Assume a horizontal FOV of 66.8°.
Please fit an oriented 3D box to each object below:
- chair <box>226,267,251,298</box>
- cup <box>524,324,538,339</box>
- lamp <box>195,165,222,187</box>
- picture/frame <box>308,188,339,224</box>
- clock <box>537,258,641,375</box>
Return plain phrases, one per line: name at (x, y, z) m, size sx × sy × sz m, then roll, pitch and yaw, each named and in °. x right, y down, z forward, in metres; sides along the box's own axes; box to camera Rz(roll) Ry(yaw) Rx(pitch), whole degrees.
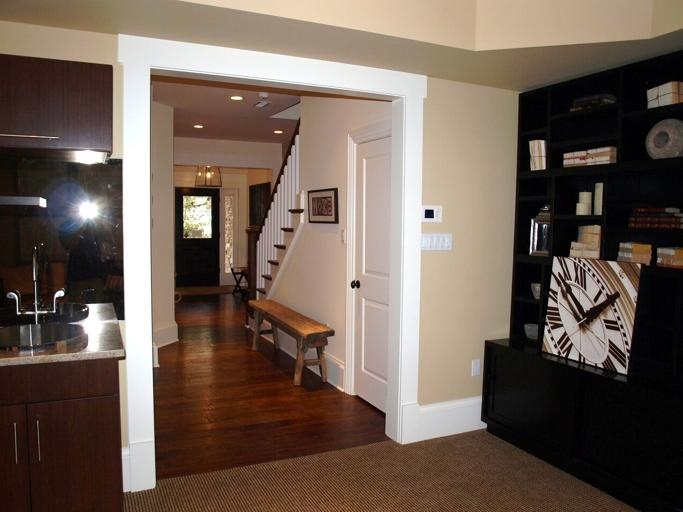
chair at (-2.220, 0.555, 10.908) m, size 0.608 × 0.654 × 0.442 m, roll -1°, pitch 2°, yaw -33°
cup at (1.549, 0.613, 4.229) m, size 0.094 × 0.078 × 0.106 m, roll 0°, pitch 2°, yaw -7°
lamp at (-2.990, -1.759, 11.468) m, size 0.630 × 0.530 × 0.663 m, roll -1°, pitch 5°, yaw -19°
picture/frame at (-0.211, -0.520, 5.391) m, size 0.034 × 0.332 × 0.490 m, roll -5°, pitch 6°, yaw -36°
clock at (1.800, 0.440, 3.688) m, size 0.093 × 0.935 × 0.747 m, roll 7°, pitch -2°, yaw -31°
